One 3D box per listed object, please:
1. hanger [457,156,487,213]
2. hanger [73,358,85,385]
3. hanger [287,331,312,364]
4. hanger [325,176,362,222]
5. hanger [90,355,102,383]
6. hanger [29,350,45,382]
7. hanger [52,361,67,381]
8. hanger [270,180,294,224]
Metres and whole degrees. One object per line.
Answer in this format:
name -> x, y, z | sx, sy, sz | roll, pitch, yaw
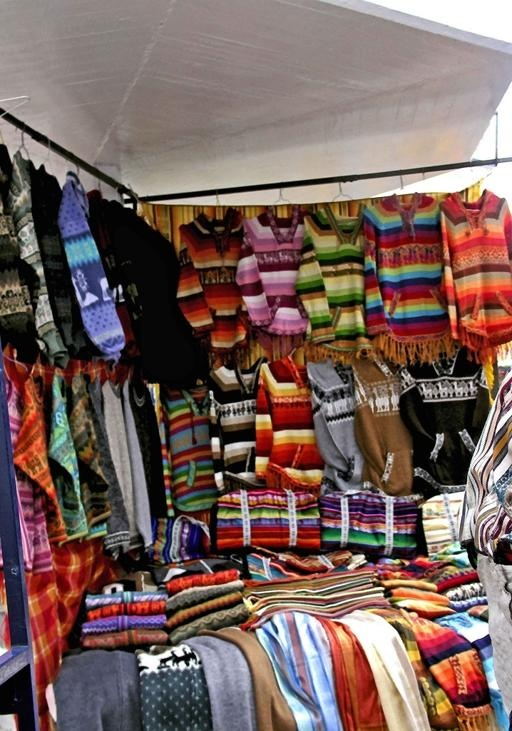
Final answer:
hanger -> 1.188, -0.984, 3.146 | 0.234, 0.223, 0.055 | -43, 23, -25
hanger -> -0.683, 0.029, 2.232 | 0.059, 0.085, 0.240 | -10, 5, -16
hanger -> 0.229, -0.079, 3.045 | 0.122, 0.159, 0.092 | -8, 5, 3
hanger -> 0.506, -0.923, 3.242 | 0.176, 0.261, 0.482 | -7, 5, 12
hanger -> -0.649, 0.016, 2.404 | 0.027, 0.111, 0.077 | 2, -6, 31
hanger -> -0.707, 0.010, 1.889 | 0.047, 0.087, 0.262 | -10, 5, -19
hanger -> -0.692, 0.020, 2.046 | 0.050, 0.063, 0.318 | -10, 5, -19
hanger -> 0.150, -0.916, 3.303 | 0.123, 0.227, 0.464 | -8, 5, 5
